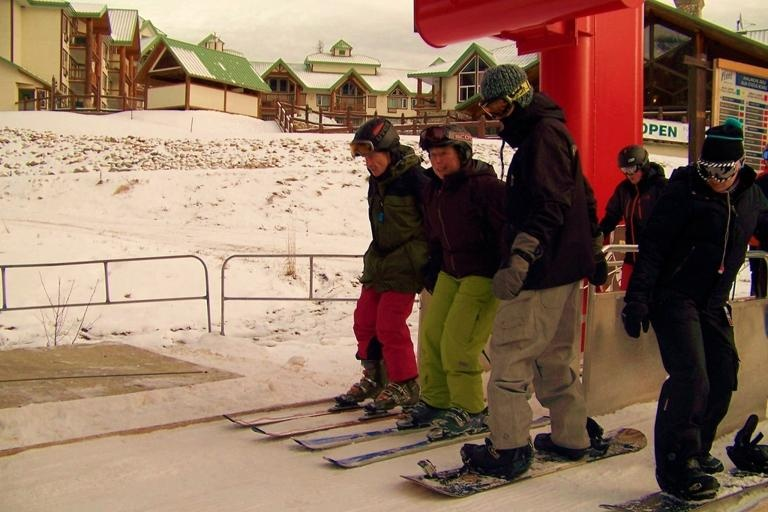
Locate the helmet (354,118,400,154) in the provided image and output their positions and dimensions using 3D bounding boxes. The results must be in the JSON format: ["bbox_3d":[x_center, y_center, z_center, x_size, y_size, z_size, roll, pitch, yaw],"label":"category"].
[{"bbox_3d":[-0.109,-1.164,7.091,0.453,0.327,0.329,-4,-4,-31],"label":"helmet"}]

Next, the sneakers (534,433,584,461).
[{"bbox_3d":[1.473,1.637,6.069,0.422,0.173,0.169,7,9,42],"label":"sneakers"}]

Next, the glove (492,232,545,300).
[{"bbox_3d":[1.020,0.086,5.537,0.192,0.508,0.376,23,10,-46],"label":"glove"}]

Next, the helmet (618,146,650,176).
[{"bbox_3d":[2.915,-1.133,8.336,0.304,0.306,0.364,-12,22,39],"label":"helmet"}]

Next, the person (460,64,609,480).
[{"bbox_3d":[1.221,0.125,5.801,1.221,3.323,0.484,-4,9,-20],"label":"person"}]

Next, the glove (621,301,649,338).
[{"bbox_3d":[2.065,0.509,5.789,0.222,0.290,0.110,5,19,42],"label":"glove"}]

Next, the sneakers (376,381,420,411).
[{"bbox_3d":[0.134,1.384,7.008,0.534,0.228,0.211,-2,0,-25],"label":"sneakers"}]

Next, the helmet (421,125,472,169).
[{"bbox_3d":[0.571,-1.022,6.514,0.446,0.325,0.331,13,-6,-30],"label":"helmet"}]

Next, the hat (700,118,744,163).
[{"bbox_3d":[2.810,-0.902,5.638,0.399,0.357,0.300,-1,1,-39],"label":"hat"}]
